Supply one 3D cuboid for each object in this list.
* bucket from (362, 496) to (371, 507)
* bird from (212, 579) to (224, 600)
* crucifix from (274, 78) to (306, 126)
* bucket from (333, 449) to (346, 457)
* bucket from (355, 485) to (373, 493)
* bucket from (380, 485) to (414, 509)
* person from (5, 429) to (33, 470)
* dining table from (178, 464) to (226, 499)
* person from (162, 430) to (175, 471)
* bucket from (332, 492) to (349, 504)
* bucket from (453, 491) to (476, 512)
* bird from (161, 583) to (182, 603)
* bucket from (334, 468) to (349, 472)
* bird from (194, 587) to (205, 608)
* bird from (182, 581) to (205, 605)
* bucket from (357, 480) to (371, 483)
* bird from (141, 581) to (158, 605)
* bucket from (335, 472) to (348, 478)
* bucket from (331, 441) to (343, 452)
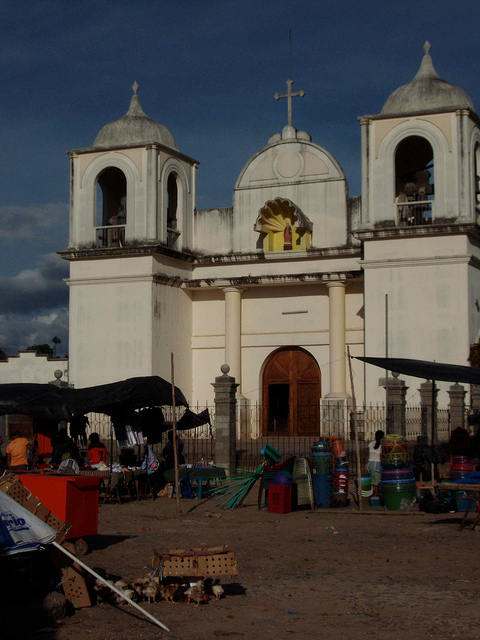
[{"bbox_3d":[2.012,2.876,20.641,0.143,0.187,0.121,-1,-7,2],"label":"bucket"},{"bbox_3d":[-0.224,2.764,13.355,0.073,0.221,0.150,-1,-2,3],"label":"bird"},{"bbox_3d":[1.262,-5.550,33.506,0.794,0.088,1.731,-8,-28,-2],"label":"crucifix"},{"bbox_3d":[1.601,2.097,20.501,0.222,0.108,0.125,3,-8,-30],"label":"bucket"},{"bbox_3d":[2.022,2.683,20.757,0.167,0.119,0.309,-8,-10,43],"label":"bucket"},{"bbox_3d":[2.417,2.700,19.853,0.322,0.308,0.336,-1,-9,0],"label":"bucket"},{"bbox_3d":[-3.463,2.016,20.276,0.312,0.632,1.025,0,-7,-10],"label":"person"},{"bbox_3d":[-0.657,2.778,22.511,0.810,0.599,1.559,-1,-7,-3],"label":"dining table"},{"bbox_3d":[-1.285,2.418,23.330,0.186,0.533,0.843,0,-7,-5],"label":"person"},{"bbox_3d":[1.626,2.809,20.594,0.190,0.180,0.382,-6,-9,38],"label":"bucket"},{"bbox_3d":[3.328,2.679,19.272,0.296,0.306,0.793,-2,-7,7],"label":"bucket"},{"bbox_3d":[-0.706,2.764,13.176,0.179,0.158,0.085,0,-6,-6],"label":"bird"},{"bbox_3d":[1.599,2.353,20.492,0.190,0.063,0.093,-1,-7,-4],"label":"bucket"},{"bbox_3d":[-0.410,2.772,13.047,0.121,0.184,0.105,3,-7,-32],"label":"bird"},{"bbox_3d":[-0.490,2.754,13.194,0.269,0.247,0.100,-30,-29,36],"label":"bird"},{"bbox_3d":[1.938,2.517,20.368,0.131,0.056,0.129,2,-8,0],"label":"bucket"},{"bbox_3d":[-0.911,2.743,13.125,0.165,0.199,0.131,0,-6,-6],"label":"bird"},{"bbox_3d":[1.595,2.428,20.463,0.186,0.082,0.103,1,-7,-18],"label":"bucket"},{"bbox_3d":[1.534,1.978,20.480,0.134,0.167,0.133,1,-6,0],"label":"bucket"}]
